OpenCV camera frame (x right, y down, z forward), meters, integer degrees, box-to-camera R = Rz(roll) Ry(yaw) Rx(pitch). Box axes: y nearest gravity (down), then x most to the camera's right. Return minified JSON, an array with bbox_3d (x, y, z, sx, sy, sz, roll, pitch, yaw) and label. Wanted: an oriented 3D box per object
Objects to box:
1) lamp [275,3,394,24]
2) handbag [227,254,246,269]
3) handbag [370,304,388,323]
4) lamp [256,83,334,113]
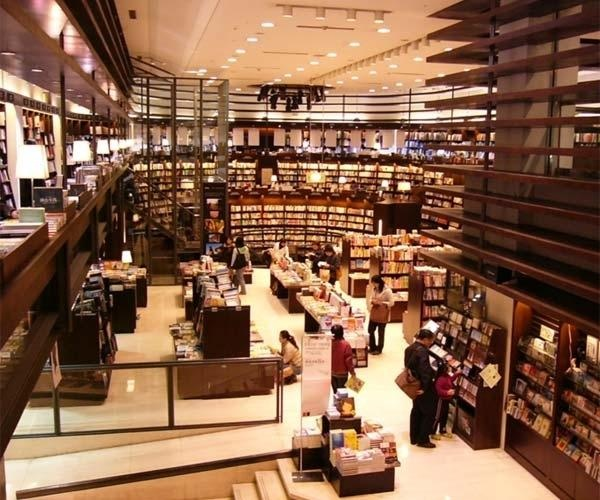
[{"bbox_3d":[0.577,-4.019,8.529,1.966,0.188,0.625,-1,8,-4],"label":"lamp"},{"bbox_3d":[-1.871,0.377,14.585,0.517,0.572,0.340,2,-3,-13],"label":"handbag"},{"bbox_3d":[1.593,1.263,9.894,0.322,0.496,0.139,3,10,13],"label":"handbag"},{"bbox_3d":[-0.137,-6.113,20.987,2.378,1.203,5.818,0,9,5],"label":"lamp"}]
